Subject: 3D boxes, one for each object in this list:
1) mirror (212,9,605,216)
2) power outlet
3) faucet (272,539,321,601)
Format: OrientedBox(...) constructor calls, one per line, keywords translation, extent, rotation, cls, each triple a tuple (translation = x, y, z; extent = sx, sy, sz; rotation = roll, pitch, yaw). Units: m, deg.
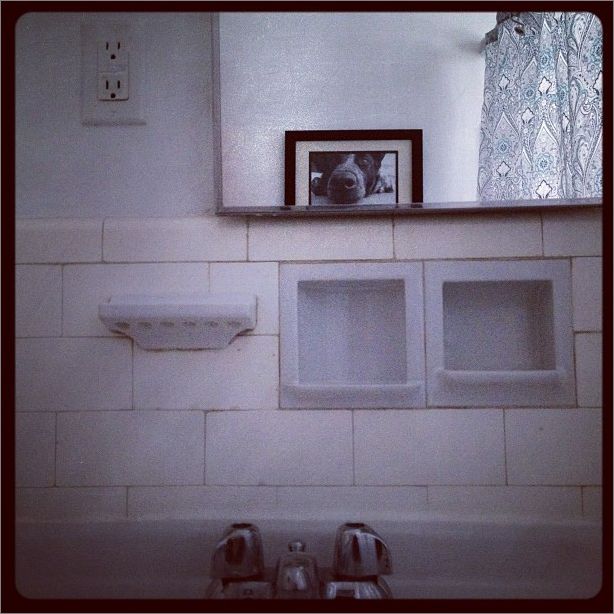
OrientedBox(translation=(0.354, -0.386, 1.837), extent=(0.498, 0.376, 0.014), rotation=(8, 25, 37), cls="mirror")
OrientedBox(translation=(-0.389, -0.467, 1.825), extent=(0.131, 0.224, 0.026), rotation=(-5, 44, -17), cls="power outlet")
OrientedBox(translation=(-0.018, 0.483, 1.627), extent=(0.084, 0.135, 0.152), rotation=(1, -18, -1), cls="faucet")
